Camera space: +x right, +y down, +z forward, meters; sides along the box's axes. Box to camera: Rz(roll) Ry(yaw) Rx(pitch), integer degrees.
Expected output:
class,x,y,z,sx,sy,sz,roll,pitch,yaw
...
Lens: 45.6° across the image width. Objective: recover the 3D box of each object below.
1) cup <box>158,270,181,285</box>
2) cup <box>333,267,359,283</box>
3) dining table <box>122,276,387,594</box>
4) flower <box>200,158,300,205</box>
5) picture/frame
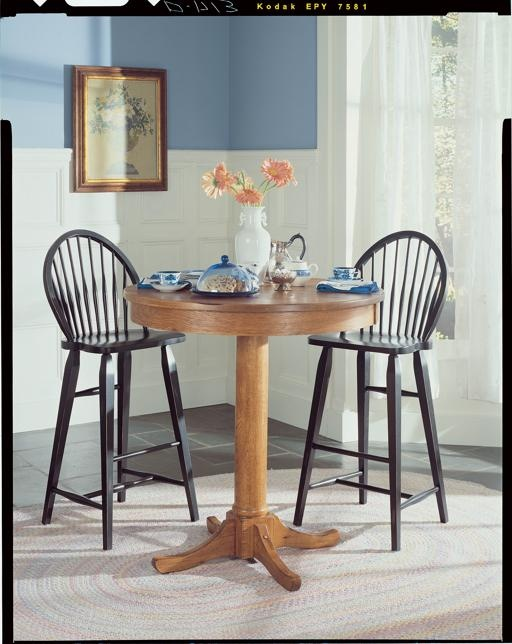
class,x,y,z,sx,sy,sz,roll,pitch,yaw
cup,-0.287,-0.158,2.071,0.054,0.035,0.054,-4,12,1
cup,0.326,-0.173,2.208,0.078,0.054,0.068,-4,7,-29
dining table,-0.016,0.381,2.098,0.864,0.883,0.849,2,-3,-29
flower,-0.042,-0.523,2.332,0.376,0.202,0.378,7,18,38
picture/frame,-0.875,-1.217,3.764,0.819,0.972,0.064,-5,9,-39
